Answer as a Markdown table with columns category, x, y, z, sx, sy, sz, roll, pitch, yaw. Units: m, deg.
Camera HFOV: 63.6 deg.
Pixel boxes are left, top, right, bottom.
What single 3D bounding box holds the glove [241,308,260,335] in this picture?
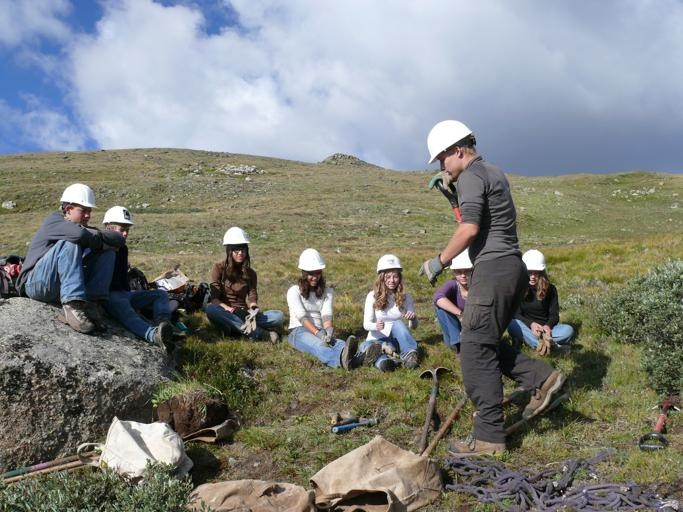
| category | x | y | z | sx | sy | sz | roll | pitch | yaw |
| --- | --- | --- | --- | --- | --- | --- | --- | --- | --- |
| glove | -1.618 | 1.187 | 9.967 | 0.207 | 0.459 | 0.163 | -14 | -47 | 35 |

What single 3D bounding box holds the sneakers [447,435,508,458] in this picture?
| category | x | y | z | sx | sy | sz | roll | pitch | yaw |
| --- | --- | --- | --- | --- | --- | --- | --- | --- | --- |
| sneakers | 1.606 | 2.228 | 6.562 | 0.603 | 0.278 | 0.258 | 5 | -4 | 14 |

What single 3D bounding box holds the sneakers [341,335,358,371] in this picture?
| category | x | y | z | sx | sy | sz | roll | pitch | yaw |
| --- | --- | --- | --- | --- | --- | --- | --- | --- | --- |
| sneakers | 0.125 | 1.566 | 8.703 | 0.203 | 0.634 | 0.252 | 10 | 3 | -22 |

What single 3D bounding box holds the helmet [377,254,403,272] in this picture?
| category | x | y | z | sx | sy | sz | roll | pitch | yaw |
| --- | --- | --- | --- | --- | --- | --- | --- | --- | --- |
| helmet | 0.795 | 0.145 | 9.323 | 0.357 | 0.286 | 0.409 | -1 | 6 | -5 |

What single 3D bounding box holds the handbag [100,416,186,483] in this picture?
| category | x | y | z | sx | sy | sz | roll | pitch | yaw |
| --- | --- | --- | --- | --- | --- | --- | --- | --- | --- |
| handbag | -2.170 | 2.122 | 6.030 | 0.767 | 0.340 | 0.673 | 26 | 16 | -7 |

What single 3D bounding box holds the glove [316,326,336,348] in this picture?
| category | x | y | z | sx | sy | sz | roll | pitch | yaw |
| --- | --- | --- | --- | --- | --- | --- | --- | --- | --- |
| glove | -0.259 | 1.373 | 9.308 | 0.225 | 0.312 | 0.129 | 9 | -46 | -34 |

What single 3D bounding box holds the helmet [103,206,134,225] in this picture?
| category | x | y | z | sx | sy | sz | roll | pitch | yaw |
| --- | --- | --- | --- | --- | --- | --- | --- | --- | --- |
| helmet | -3.807 | -0.738 | 9.350 | 0.511 | 0.354 | 0.402 | -1 | -4 | 24 |

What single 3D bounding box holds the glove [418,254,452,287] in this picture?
| category | x | y | z | sx | sy | sz | roll | pitch | yaw |
| --- | --- | --- | --- | --- | --- | --- | --- | --- | --- |
| glove | 1.091 | 0.199 | 6.713 | 0.182 | 0.262 | 0.565 | 1 | -19 | -4 |

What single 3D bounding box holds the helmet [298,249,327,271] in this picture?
| category | x | y | z | sx | sy | sz | roll | pitch | yaw |
| --- | --- | --- | --- | --- | --- | --- | --- | --- | --- |
| helmet | -0.553 | 0.087 | 9.711 | 0.325 | 0.258 | 0.447 | -1 | -2 | -14 |

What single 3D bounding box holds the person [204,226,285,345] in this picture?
| category | x | y | z | sx | sy | sz | roll | pitch | yaw |
| --- | --- | --- | --- | --- | --- | --- | --- | --- | --- |
| person | -1.874 | 0.498 | 10.360 | 1.413 | 2.005 | 1.084 | 4 | 7 | 34 |

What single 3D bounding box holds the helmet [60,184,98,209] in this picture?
| category | x | y | z | sx | sy | sz | roll | pitch | yaw |
| --- | --- | --- | --- | --- | --- | --- | --- | --- | --- |
| helmet | -4.013 | -0.896 | 8.312 | 0.600 | 0.361 | 0.454 | 5 | -2 | 25 |

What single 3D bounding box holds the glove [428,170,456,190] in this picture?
| category | x | y | z | sx | sy | sz | roll | pitch | yaw |
| --- | --- | --- | --- | --- | --- | --- | --- | --- | --- |
| glove | 1.225 | -0.952 | 7.090 | 0.124 | 0.264 | 0.337 | -2 | -10 | -27 |

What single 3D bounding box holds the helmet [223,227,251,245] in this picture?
| category | x | y | z | sx | sy | sz | roll | pitch | yaw |
| --- | --- | --- | --- | --- | --- | --- | --- | --- | --- |
| helmet | -2.020 | -0.325 | 10.359 | 0.421 | 0.261 | 0.344 | -6 | -4 | 43 |
